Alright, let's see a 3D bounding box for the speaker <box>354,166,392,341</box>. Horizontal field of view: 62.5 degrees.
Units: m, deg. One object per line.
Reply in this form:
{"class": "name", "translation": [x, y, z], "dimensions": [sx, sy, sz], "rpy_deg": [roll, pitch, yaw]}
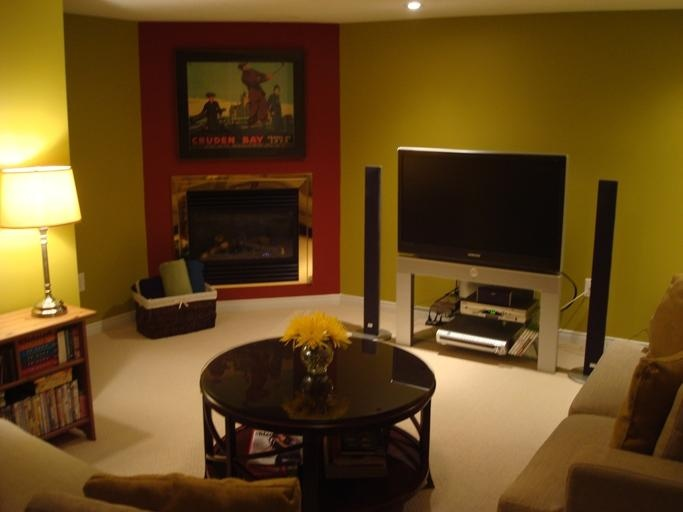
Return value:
{"class": "speaker", "translation": [0.303, -0.001, 4.676], "dimensions": [0.244, 1.469, 0.167], "rpy_deg": [1, 12, 3]}

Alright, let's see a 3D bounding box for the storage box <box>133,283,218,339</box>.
{"class": "storage box", "translation": [-1.484, 0.326, 4.886], "dimensions": [0.666, 0.488, 0.454], "rpy_deg": [-8, 11, -42]}

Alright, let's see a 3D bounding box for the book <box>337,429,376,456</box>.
{"class": "book", "translation": [0.080, 0.925, 2.801], "dimensions": [0.158, 0.046, 0.179], "rpy_deg": [0, 17, 3]}

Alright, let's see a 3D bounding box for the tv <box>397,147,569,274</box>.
{"class": "tv", "translation": [1.124, -0.363, 4.358], "dimensions": [0.885, 0.673, 0.100], "rpy_deg": [5, 16, 25]}

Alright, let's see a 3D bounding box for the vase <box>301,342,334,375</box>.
{"class": "vase", "translation": [-0.123, 0.524, 2.913], "dimensions": [0.162, 0.207, 0.172], "rpy_deg": [-1, 18, -3]}

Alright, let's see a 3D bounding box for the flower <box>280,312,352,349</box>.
{"class": "flower", "translation": [-0.148, 0.376, 2.917], "dimensions": [0.248, 0.187, 0.251], "rpy_deg": [-2, 5, -32]}
